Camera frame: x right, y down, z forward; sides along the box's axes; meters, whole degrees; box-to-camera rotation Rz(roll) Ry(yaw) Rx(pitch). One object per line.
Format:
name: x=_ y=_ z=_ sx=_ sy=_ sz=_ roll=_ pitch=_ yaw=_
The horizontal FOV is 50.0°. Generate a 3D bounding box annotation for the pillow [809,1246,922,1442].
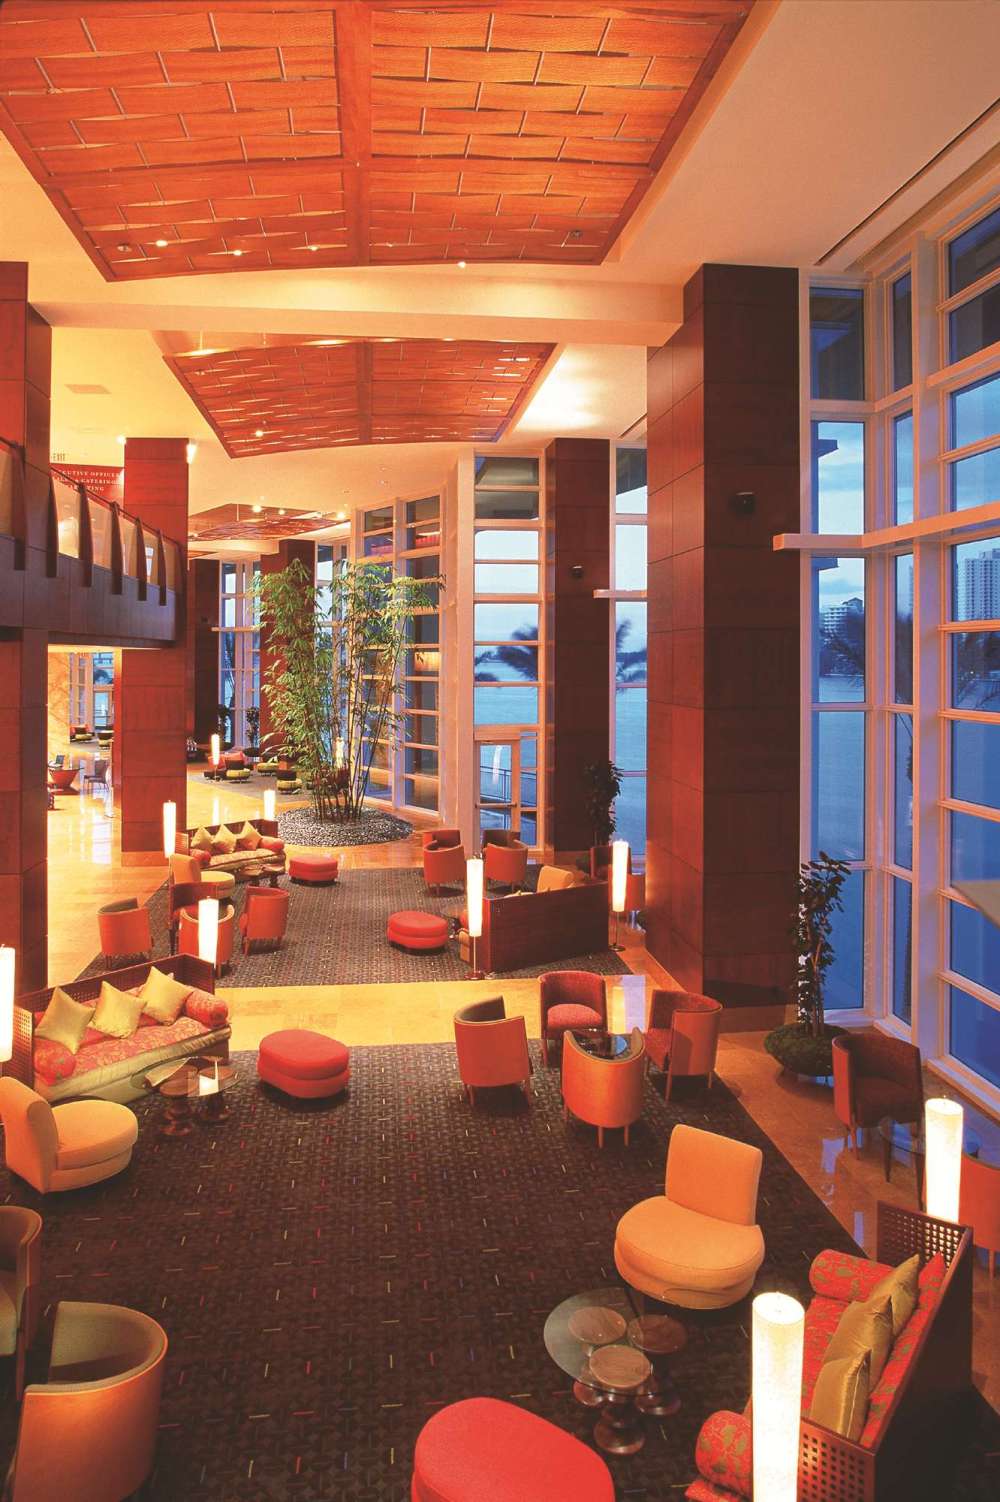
pillow: x=1.227 y=2.033 z=3.671 sx=0.124 sy=0.434 sz=0.424 roll=22 pitch=19 yaw=14

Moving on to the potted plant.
potted plant: x=2.428 y=1.651 z=8.500 sx=0.532 sy=1.721 sz=1.465 roll=1 pitch=4 yaw=18

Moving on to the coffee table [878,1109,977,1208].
coffee table: x=2.458 y=2.331 z=6.395 sx=0.588 sy=0.459 sz=0.533 roll=-4 pitch=5 yaw=-45

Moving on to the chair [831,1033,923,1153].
chair: x=2.486 y=2.210 z=6.995 sx=0.565 sy=0.842 sz=0.687 roll=-1 pitch=-8 yaw=-5
